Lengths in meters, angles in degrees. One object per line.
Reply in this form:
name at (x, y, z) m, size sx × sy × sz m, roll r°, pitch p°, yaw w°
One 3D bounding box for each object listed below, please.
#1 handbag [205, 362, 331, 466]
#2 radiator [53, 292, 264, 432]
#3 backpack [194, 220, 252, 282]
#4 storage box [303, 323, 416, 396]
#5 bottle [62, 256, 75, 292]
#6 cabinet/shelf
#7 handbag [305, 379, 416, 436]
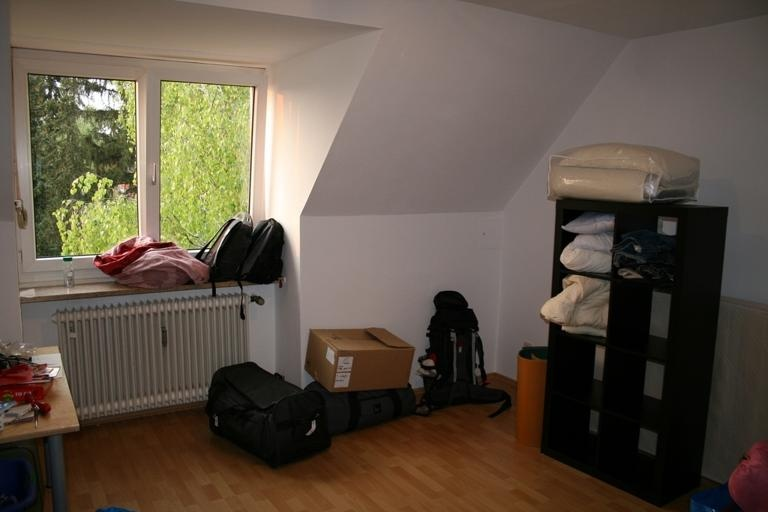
handbag at (-0.978, 1.142, 4.415) m, size 0.586 × 0.364 × 0.829 m, roll -6°, pitch 13°, yaw -40°
radiator at (-1.888, 0.868, 4.607) m, size 1.056 × 0.709 × 0.122 m, roll -4°, pitch 7°, yaw -26°
backpack at (-1.402, -0.064, 4.997) m, size 0.475 × 0.548 × 0.365 m, roll 1°, pitch 8°, yaw -15°
storage box at (-0.286, 0.795, 4.751) m, size 0.726 × 0.426 × 0.530 m, roll 1°, pitch 19°, yaw -32°
bottle at (-2.595, 0.125, 4.687) m, size 0.077 × 0.232 × 0.234 m, roll -2°, pitch 9°, yaw -30°
cabinet/shelf at (1.770, 0.613, 4.131) m, size 1.068 × 2.024 × 0.531 m, roll 9°, pitch 10°, yaw 37°
handbag at (-0.150, 1.177, 4.752) m, size 0.697 × 0.283 × 0.410 m, roll -2°, pitch 7°, yaw -32°
